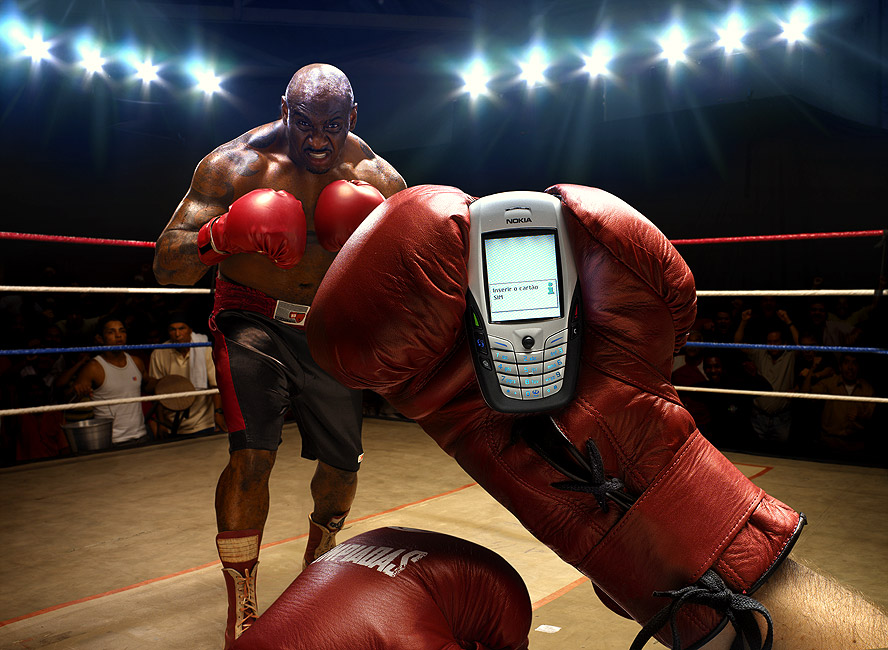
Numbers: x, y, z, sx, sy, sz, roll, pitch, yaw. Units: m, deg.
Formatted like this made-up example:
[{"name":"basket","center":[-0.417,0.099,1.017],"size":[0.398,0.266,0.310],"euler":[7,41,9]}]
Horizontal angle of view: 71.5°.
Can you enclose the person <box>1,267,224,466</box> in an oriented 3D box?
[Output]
[{"name":"person","center":[-2.208,0.105,4.257],"size":[1.593,1.468,0.372],"euler":[-3,14,-16]}]

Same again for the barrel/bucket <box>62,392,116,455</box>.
[{"name":"barrel/bucket","center":[-2.403,0.752,4.225],"size":[0.267,0.185,0.241],"euler":[-2,3,-22]}]

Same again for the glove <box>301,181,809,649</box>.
[{"name":"glove","center":[0.183,0.118,1.065],"size":[0.467,0.845,0.238],"euler":[-47,4,-6]}]
